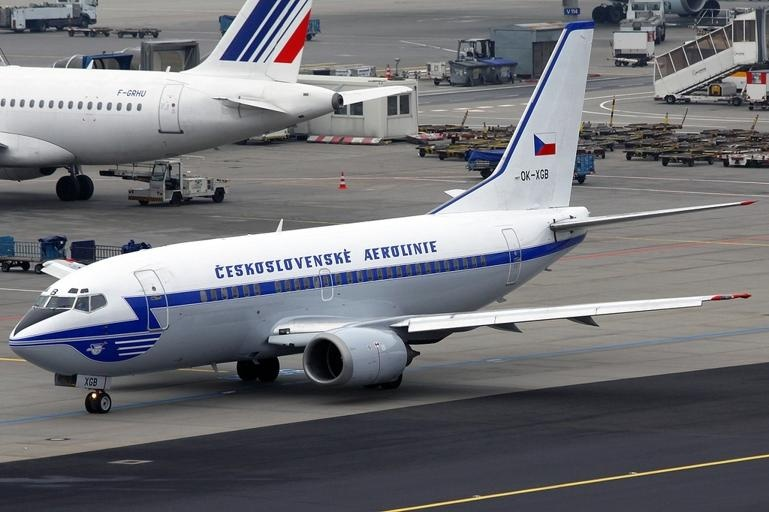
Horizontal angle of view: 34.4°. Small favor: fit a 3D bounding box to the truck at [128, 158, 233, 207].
[{"bbox_3d":[-10.915,-3.949,68.240,4.856,1.475,3.271,-3,4,-45],"label":"truck"}]
